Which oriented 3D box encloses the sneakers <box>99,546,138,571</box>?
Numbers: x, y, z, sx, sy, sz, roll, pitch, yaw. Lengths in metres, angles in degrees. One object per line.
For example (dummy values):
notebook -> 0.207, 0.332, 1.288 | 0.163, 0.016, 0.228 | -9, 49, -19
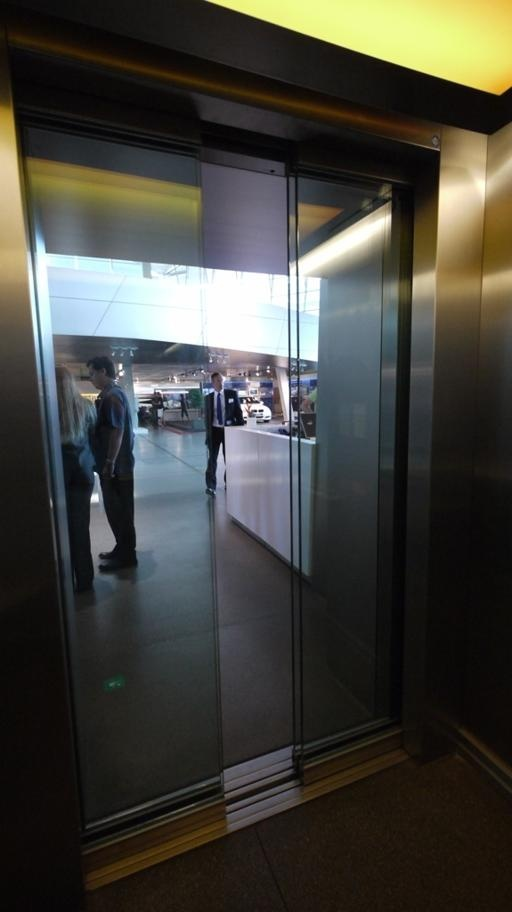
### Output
sneakers -> -0.421, 0.319, 1.899 | 0.123, 0.115, 0.044 | 8, -6, -36
